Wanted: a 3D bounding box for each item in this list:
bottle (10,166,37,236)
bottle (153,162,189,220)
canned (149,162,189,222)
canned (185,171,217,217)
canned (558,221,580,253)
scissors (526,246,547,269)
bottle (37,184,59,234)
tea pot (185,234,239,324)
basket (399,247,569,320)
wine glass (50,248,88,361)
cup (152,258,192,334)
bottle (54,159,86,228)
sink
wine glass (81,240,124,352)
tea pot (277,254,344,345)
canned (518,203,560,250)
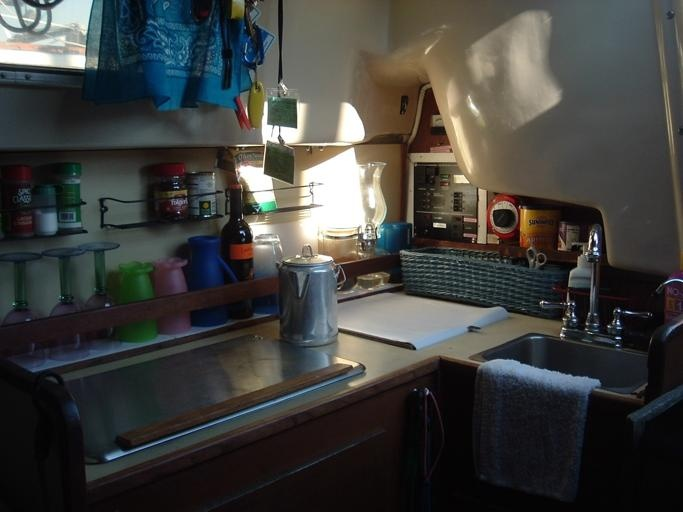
[{"bbox_3d":[-0.899,-0.155,1.441,0.066,0.194,0.117,-6,13,-32],"label":"bottle"},{"bbox_3d":[-0.580,-0.219,1.731,0.116,0.189,0.112,1,10,0],"label":"bottle"},{"bbox_3d":[-0.580,-0.220,1.734,0.116,0.190,0.117,5,11,20],"label":"canned"},{"bbox_3d":[-0.498,-0.220,1.794,0.127,0.219,0.140,-4,9,-18],"label":"canned"},{"bbox_3d":[0.892,-0.069,2.031,0.092,0.108,0.096,2,8,12],"label":"canned"},{"bbox_3d":[0.774,0.006,2.033,0.011,0.087,0.066,-8,18,-27],"label":"scissors"},{"bbox_3d":[-0.838,-0.127,1.449,0.059,0.142,0.055,1,11,0],"label":"bottle"},{"bbox_3d":[-0.468,0.081,1.799,0.147,0.299,0.184,-5,13,-29],"label":"tea pot"},{"bbox_3d":[0.558,0.079,2.088,0.447,0.154,0.273,3,4,42],"label":"basket"},{"bbox_3d":[-0.822,0.130,1.535,0.107,0.311,0.177,-5,13,-28],"label":"wine glass"},{"bbox_3d":[-0.566,0.130,1.712,0.115,0.237,0.210,-8,14,-36],"label":"cup"},{"bbox_3d":[-0.815,-0.173,1.523,0.083,0.206,0.084,0,7,0],"label":"bottle"},{"bbox_3d":[0.778,0.287,1.709,0.333,0.143,0.272,5,14,39],"label":"sink"},{"bbox_3d":[-0.741,0.116,1.587,0.117,0.311,0.207,-4,13,-24],"label":"wine glass"},{"bbox_3d":[-0.108,0.141,1.643,0.181,0.331,0.288,0,2,12],"label":"tea pot"},{"bbox_3d":[0.828,-0.117,2.141,0.176,0.207,0.182,2,5,13],"label":"canned"}]
